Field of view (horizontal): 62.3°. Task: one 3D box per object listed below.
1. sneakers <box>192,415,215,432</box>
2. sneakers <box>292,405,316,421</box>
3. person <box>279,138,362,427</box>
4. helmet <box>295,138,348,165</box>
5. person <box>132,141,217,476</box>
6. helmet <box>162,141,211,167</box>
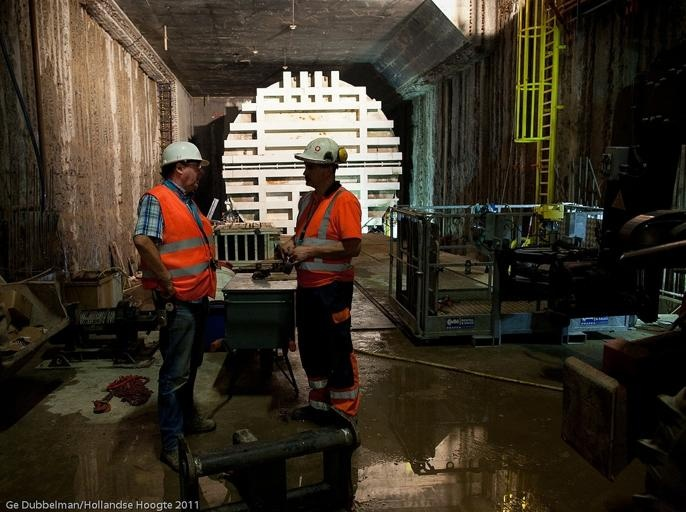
[{"bbox_3d":[-1.288,1.551,5.307,0.225,0.126,0.103,-1,5,-12],"label":"sneakers"},{"bbox_3d":[-0.363,1.501,5.435,0.262,0.148,0.111,5,1,-4],"label":"sneakers"},{"bbox_3d":[-0.146,0.271,5.175,0.637,2.607,0.939,-6,16,-20],"label":"person"},{"bbox_3d":[-0.171,-0.943,5.178,0.346,0.146,0.289,5,14,-2],"label":"helmet"},{"bbox_3d":[-1.445,0.368,4.901,0.533,2.600,1.051,1,15,5],"label":"person"},{"bbox_3d":[-1.411,-0.910,5.055,0.322,0.154,0.254,-6,13,-21],"label":"helmet"}]
